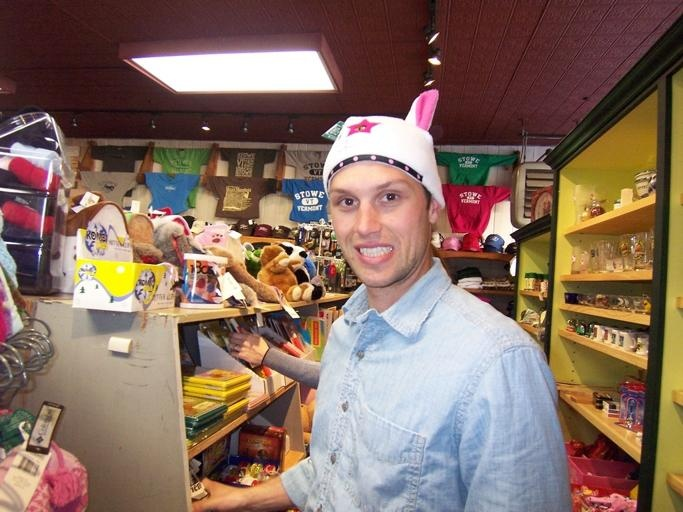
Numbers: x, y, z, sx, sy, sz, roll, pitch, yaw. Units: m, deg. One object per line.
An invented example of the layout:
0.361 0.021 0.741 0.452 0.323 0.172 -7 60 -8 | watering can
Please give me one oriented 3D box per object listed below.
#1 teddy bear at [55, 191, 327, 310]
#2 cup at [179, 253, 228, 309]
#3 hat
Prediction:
-0.567 -0.057 2.113 0.666 0.258 0.505 27 -3 12 | teddy bear
-0.537 0.090 1.579 0.191 0.206 0.188 1 -2 0 | cup
0.090 -0.317 1.406 0.417 0.305 0.308 3 3 30 | hat
